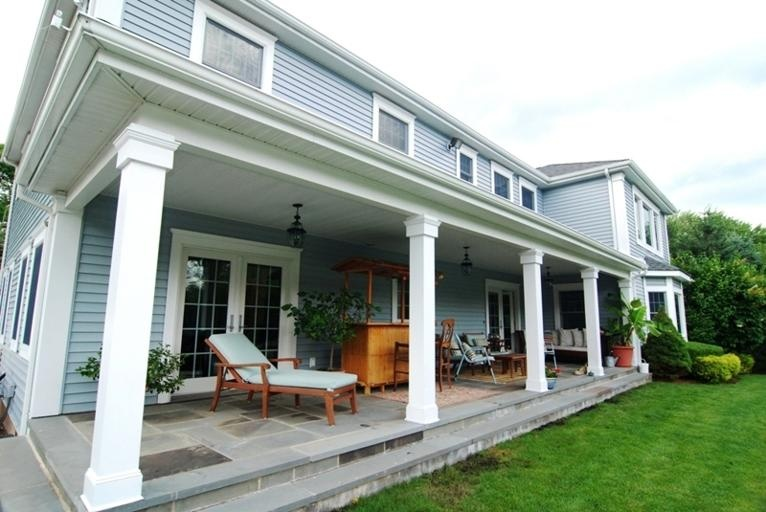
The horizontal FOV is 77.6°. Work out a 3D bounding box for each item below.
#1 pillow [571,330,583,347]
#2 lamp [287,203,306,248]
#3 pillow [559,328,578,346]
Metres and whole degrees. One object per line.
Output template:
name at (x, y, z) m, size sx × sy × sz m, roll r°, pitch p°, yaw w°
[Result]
pillow at (6.006, 2.545, 14.699) m, size 0.537 × 0.368 × 0.254 m, roll -4°, pitch -2°, yaw -37°
lamp at (-1.613, -0.556, 9.015) m, size 0.295 × 0.991 × 1.100 m, roll 7°, pitch 11°, yaw -11°
pillow at (5.803, 2.531, 14.879) m, size 0.553 × 0.378 × 0.190 m, roll 6°, pitch 2°, yaw -34°
